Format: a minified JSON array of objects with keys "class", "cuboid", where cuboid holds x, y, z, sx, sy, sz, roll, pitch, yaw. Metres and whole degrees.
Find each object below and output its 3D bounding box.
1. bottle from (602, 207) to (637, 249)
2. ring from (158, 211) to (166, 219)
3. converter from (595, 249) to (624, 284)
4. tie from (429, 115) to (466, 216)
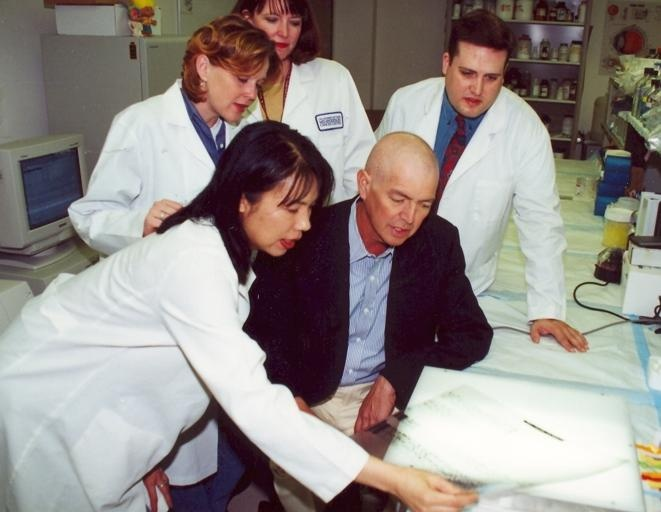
[{"class":"bottle","cuboid":[1.474,-0.144,2.603,0.123,0.205,0.175,5,15,17]},{"class":"ring","cuboid":[-0.505,-0.121,1.519,0.019,0.006,0.019,8,52,-10]},{"class":"converter","cuboid":[1.302,0.034,2.351,0.146,0.153,0.127,-1,11,-24]},{"class":"tie","cuboid":[0.493,-0.369,2.108,0.047,0.495,0.056,15,-9,11]}]
